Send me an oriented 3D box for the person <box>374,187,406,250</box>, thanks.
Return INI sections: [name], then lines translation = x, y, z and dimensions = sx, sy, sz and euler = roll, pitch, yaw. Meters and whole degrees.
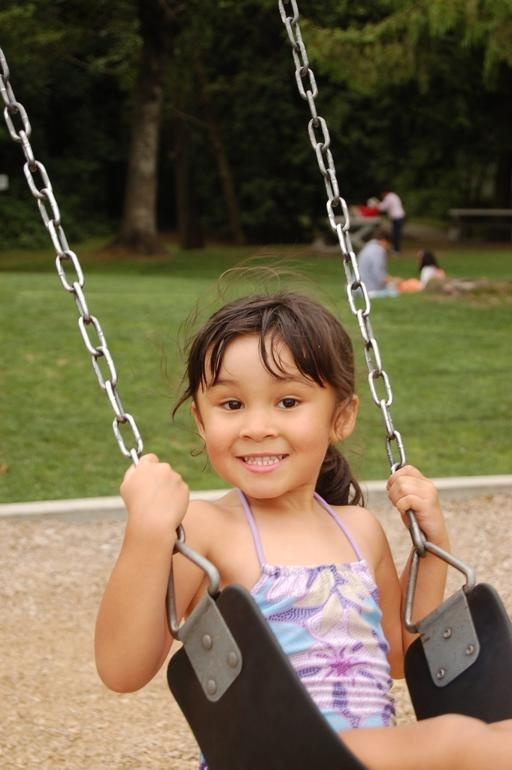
[person]
translation = 1.562, -1.937, 9.408
dimensions = 0.419, 0.357, 1.066
euler = -19, 25, 12
